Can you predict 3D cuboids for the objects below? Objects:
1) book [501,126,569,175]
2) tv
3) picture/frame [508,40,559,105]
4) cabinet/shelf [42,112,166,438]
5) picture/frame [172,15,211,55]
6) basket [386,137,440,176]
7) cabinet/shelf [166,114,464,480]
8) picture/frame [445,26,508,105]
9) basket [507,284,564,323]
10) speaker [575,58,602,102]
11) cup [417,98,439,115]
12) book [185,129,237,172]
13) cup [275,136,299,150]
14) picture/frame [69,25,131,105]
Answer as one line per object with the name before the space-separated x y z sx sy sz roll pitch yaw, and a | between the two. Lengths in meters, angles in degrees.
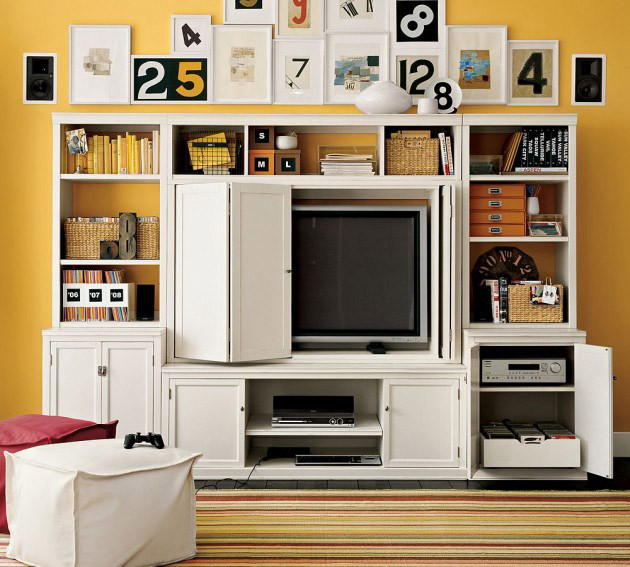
book | 1.384 -0.814 5.265 0.289 0.380 0.383 -1 2 -13
tv | 0.297 -0.043 5.354 0.876 0.863 0.071 3 2 -1
picture/frame | 1.445 -1.404 5.503 0.419 0.565 0.026 0 0 1
cabinet/shelf | -1.307 -0.083 5.212 0.794 1.900 0.897 -1 12 -11
picture/frame | -0.810 -1.638 5.492 0.252 0.255 0.027 0 2 -1
basket | 0.615 -0.785 5.229 0.396 0.276 0.223 0 0 3
cabinet/shelf | -0.004 0.086 5.164 2.182 2.625 0.739 0 -1 0
picture/frame | 1.077 -1.435 5.491 0.523 0.674 0.027 0 -1 1
basket | 1.378 0.135 5.204 0.262 0.196 0.260 0 -2 5
speaker | 1.805 -1.338 5.502 0.171 0.282 0.053 1 11 -3
cup | 0.717 -1.098 5.230 0.120 0.091 0.121 0 -1 0
book | -0.646 -0.821 5.258 0.273 0.277 0.204 -2 6 0
cup | -0.184 -0.895 5.340 0.084 0.076 0.113 0 1 19
picture/frame | -1.426 -1.445 5.479 0.511 0.687 0.024 0 -1 -4
